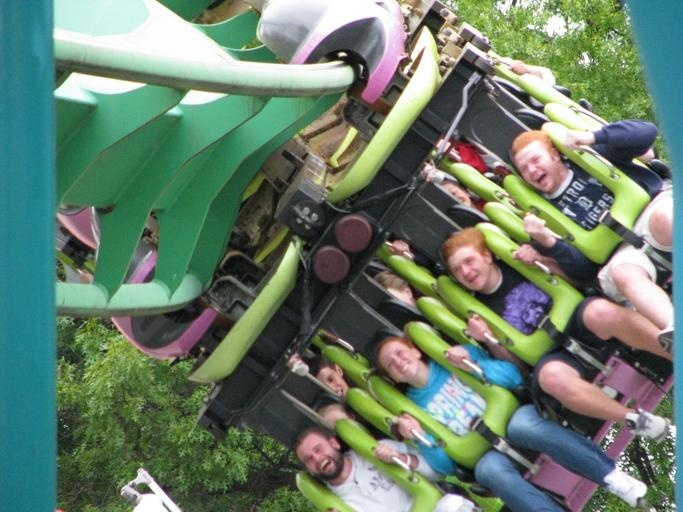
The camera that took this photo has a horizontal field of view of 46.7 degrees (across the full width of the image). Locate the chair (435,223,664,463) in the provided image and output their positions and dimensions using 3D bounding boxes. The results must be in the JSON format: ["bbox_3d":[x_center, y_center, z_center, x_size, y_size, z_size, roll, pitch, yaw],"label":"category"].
[{"bbox_3d":[1.687,0.547,6.537,2.297,0.820,0.566,39,3,40],"label":"chair"}]

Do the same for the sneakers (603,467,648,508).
[{"bbox_3d":[2.129,1.739,6.045,0.351,0.216,0.126,37,-4,19],"label":"sneakers"}]

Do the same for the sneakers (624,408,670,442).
[{"bbox_3d":[2.244,1.251,5.873,0.312,0.126,0.209,18,26,6],"label":"sneakers"}]
